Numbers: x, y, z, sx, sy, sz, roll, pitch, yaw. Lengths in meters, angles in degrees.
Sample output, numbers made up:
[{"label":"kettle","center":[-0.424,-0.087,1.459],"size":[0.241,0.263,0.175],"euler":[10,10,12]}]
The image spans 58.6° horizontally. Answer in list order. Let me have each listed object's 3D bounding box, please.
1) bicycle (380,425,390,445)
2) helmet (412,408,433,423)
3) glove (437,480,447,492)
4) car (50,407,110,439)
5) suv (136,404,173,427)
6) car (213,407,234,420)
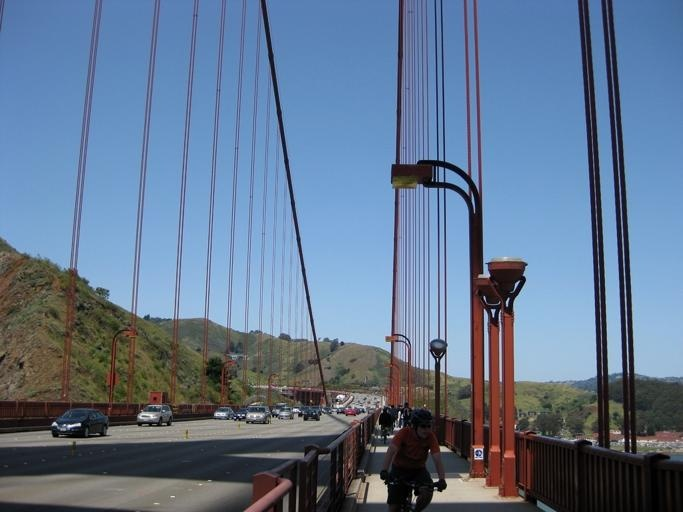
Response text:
[{"label":"bicycle","center":[2.069,8.745,29.840],"size":[0.536,0.746,1.179],"euler":[-2,-35,2]},{"label":"helmet","center":[0.971,1.940,7.488],"size":[0.175,0.246,0.240],"euler":[1,-6,4]},{"label":"glove","center":[1.207,2.823,7.465],"size":[0.099,0.164,0.149],"euler":[3,-5,15]},{"label":"car","center":[-12.938,8.292,30.262],"size":[1.248,1.392,3.100],"euler":[0,-15,10]},{"label":"suv","center":[-14.149,12.184,46.640],"size":[1.945,1.617,2.546],"euler":[-8,-17,34]},{"label":"car","center":[-12.632,16.813,64.921],"size":[1.472,1.232,2.650],"euler":[0,-15,2]}]
